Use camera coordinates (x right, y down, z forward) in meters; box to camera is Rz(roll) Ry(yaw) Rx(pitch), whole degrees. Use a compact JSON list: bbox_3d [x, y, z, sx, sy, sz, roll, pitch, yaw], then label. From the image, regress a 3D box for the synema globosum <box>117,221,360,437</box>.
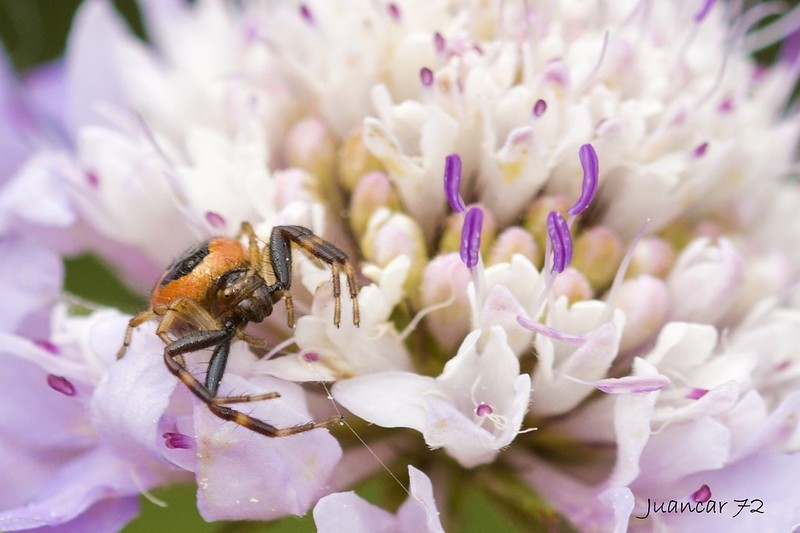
[{"bbox_3d":[-0.237,0.067,1.077,0.262,0.112,0.331,-40,41,-23],"label":"synema globosum"}]
